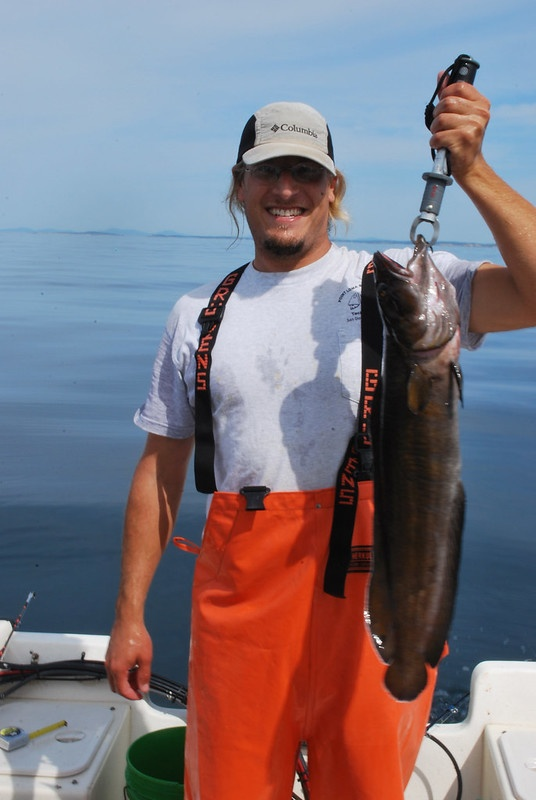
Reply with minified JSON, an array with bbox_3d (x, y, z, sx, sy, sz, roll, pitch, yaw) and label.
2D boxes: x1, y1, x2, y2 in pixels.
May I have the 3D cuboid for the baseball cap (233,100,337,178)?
[{"bbox_3d":[0.062,-0.926,3.022,0.369,0.210,0.440,-3,19,-12],"label":"baseball cap"}]

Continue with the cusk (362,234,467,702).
[{"bbox_3d":[0.391,0.193,2.287,0.256,1.247,0.164,0,0,9],"label":"cusk"}]
